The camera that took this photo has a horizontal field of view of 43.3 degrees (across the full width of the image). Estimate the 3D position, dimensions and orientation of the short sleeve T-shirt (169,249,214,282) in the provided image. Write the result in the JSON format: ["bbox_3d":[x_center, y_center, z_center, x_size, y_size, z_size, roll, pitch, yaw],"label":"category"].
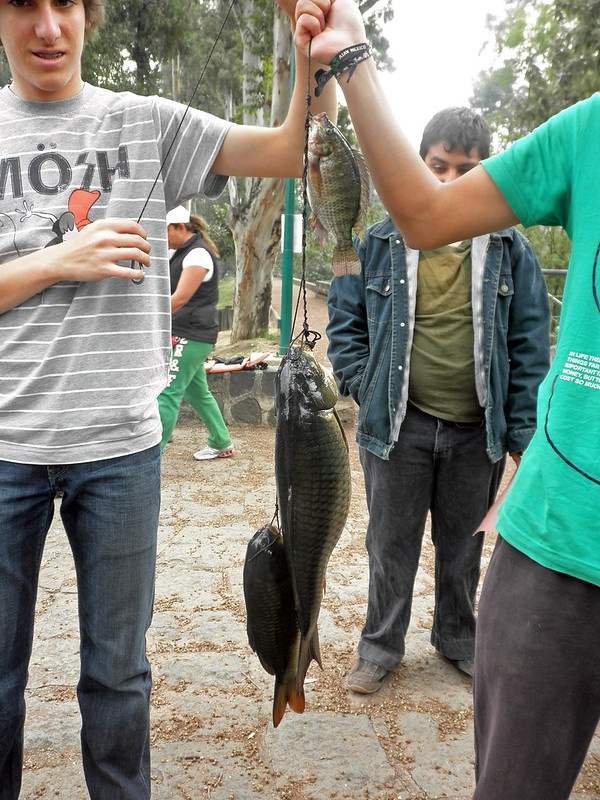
[{"bbox_3d":[-0.750,-0.981,5.497,0.290,0.373,0.208,0,4,-3],"label":"short sleeve T-shirt"}]

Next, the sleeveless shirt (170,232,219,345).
[{"bbox_3d":[-0.800,-0.724,5.557,0.389,0.939,0.389,10,15,6],"label":"sleeveless shirt"}]

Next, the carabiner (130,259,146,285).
[{"bbox_3d":[-0.382,-0.306,1.775,0.020,0.065,0.049,1,34,-25],"label":"carabiner"}]

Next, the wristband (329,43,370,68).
[{"bbox_3d":[0.099,-0.688,1.532,0.064,0.023,0.048,-32,8,-4],"label":"wristband"}]

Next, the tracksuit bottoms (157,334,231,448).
[{"bbox_3d":[-0.848,-0.101,5.701,0.643,1.039,0.392,-4,13,-26],"label":"tracksuit bottoms"}]

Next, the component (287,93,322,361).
[{"bbox_3d":[-0.026,-0.336,1.619,0.098,0.566,0.129,3,20,6],"label":"component"}]

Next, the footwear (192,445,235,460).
[{"bbox_3d":[-0.722,0.449,6.351,0.333,0.151,0.119,-3,12,-19],"label":"footwear"}]
